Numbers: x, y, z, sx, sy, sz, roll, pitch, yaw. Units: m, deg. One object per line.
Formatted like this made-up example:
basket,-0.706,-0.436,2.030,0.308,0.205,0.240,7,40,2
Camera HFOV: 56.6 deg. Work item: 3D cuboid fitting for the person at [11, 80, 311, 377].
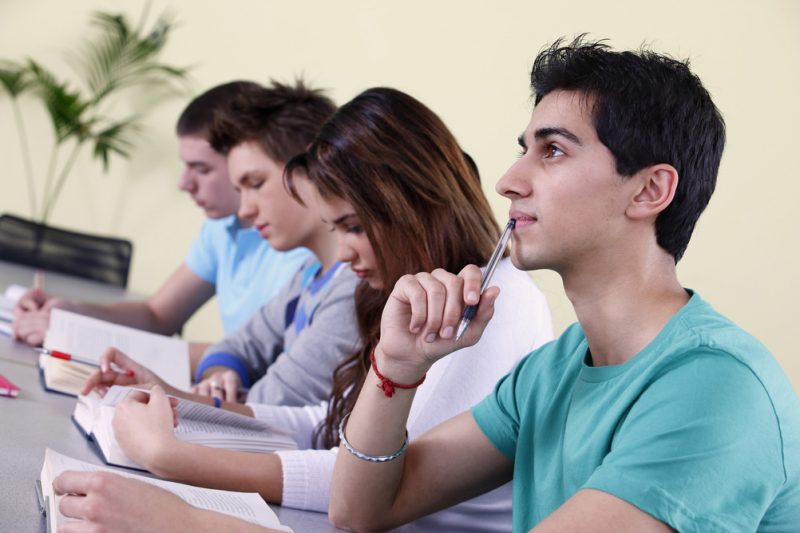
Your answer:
person,-1.251,-0.214,3.675,1.138,1.962,1.085,0,4,-30

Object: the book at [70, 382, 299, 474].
book,-0.532,0.405,1.871,0.292,0.106,0.288,12,2,-40
